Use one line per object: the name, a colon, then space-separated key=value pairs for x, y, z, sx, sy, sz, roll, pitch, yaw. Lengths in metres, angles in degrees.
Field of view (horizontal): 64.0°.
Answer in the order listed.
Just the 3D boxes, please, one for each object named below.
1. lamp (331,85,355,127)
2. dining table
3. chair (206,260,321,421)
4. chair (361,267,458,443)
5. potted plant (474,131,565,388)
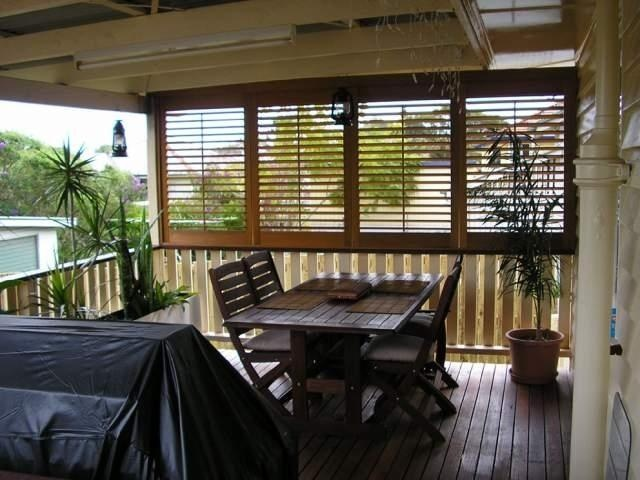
lamp: x=0.194 y=-1.123 z=4.345 sx=0.169 sy=0.338 sz=0.160 roll=-1 pitch=1 yaw=4
dining table: x=0.157 y=0.777 z=3.647 sx=1.153 sy=0.855 sz=1.449 roll=3 pitch=8 yaw=27
chair: x=-0.296 y=0.654 z=3.699 sx=0.802 sy=1.059 sz=0.826 roll=-9 pitch=9 yaw=-9
chair: x=0.528 y=0.683 z=3.750 sx=0.873 sy=1.287 sz=0.924 roll=3 pitch=6 yaw=13
potted plant: x=1.670 y=0.083 z=4.313 sx=0.702 sy=2.072 sz=0.789 roll=2 pitch=7 yaw=20
